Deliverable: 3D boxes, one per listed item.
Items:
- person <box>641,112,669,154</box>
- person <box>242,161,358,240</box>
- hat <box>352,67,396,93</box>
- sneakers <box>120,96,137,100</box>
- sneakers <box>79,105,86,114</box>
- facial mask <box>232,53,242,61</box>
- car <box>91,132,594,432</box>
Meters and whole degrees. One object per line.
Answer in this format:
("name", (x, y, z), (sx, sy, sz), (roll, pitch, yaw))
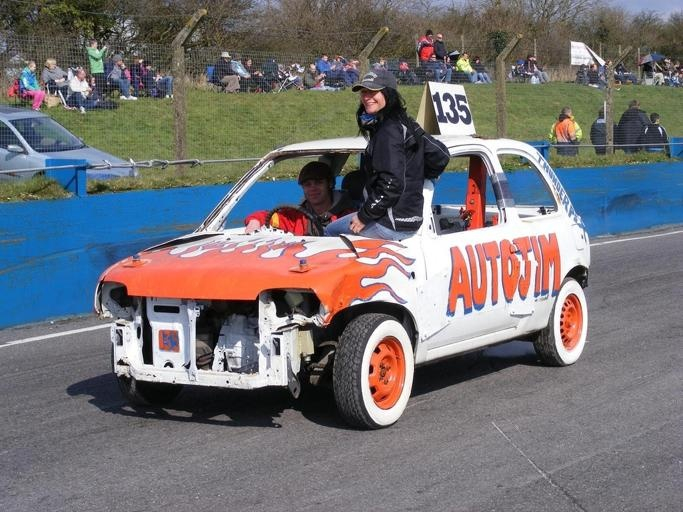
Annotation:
("person", (9.103, -3.549, 20.122), (0.720, 1.196, 2.685), (3, 10, 24))
("person", (-0.292, -0.465, 6.324), (0.615, 0.429, 0.878), (-18, 1, 35))
("hat", (0.284, -1.440, 5.762), (0.296, 0.169, 0.208), (-3, 3, -42))
("sneakers", (-4.728, -3.515, 15.480), (0.389, 0.093, 0.242), (-6, 10, -28))
("sneakers", (-5.647, -3.208, 15.171), (0.095, 0.163, 0.051), (-7, -3, -22))
("facial mask", (-2.423, -4.656, 16.214), (0.129, 0.148, 0.035), (-5, 34, -18))
("car", (0.177, 0.120, 5.994), (4.296, 2.270, 1.840), (-7, 10, -33))
